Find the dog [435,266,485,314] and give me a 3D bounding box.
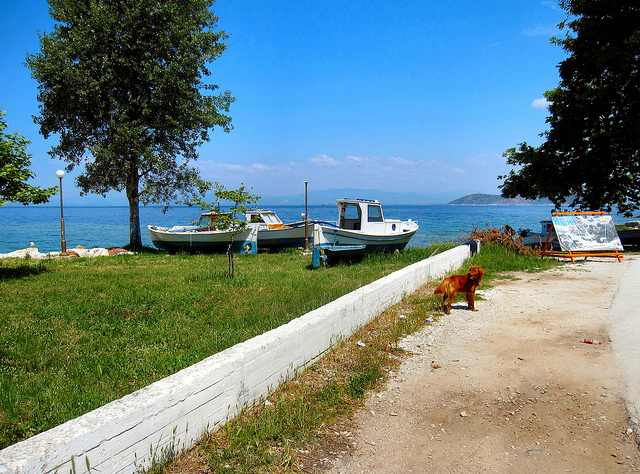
[{"bbox_3d":[3.146,1.190,10.573,1.154,1.018,0.467,-4,4,-7],"label":"dog"}]
